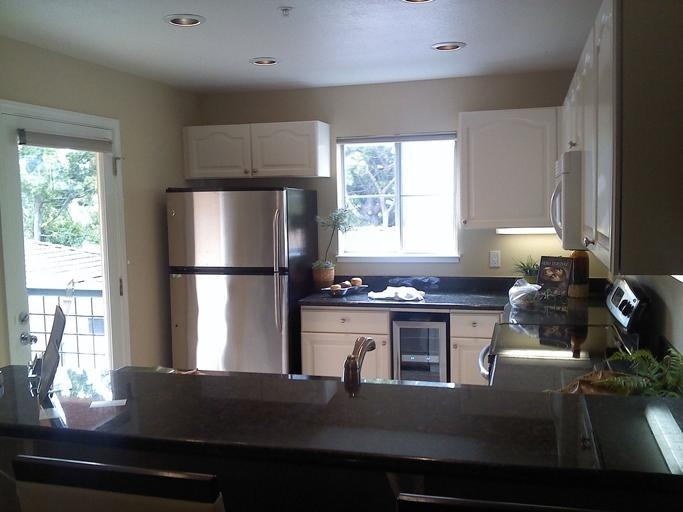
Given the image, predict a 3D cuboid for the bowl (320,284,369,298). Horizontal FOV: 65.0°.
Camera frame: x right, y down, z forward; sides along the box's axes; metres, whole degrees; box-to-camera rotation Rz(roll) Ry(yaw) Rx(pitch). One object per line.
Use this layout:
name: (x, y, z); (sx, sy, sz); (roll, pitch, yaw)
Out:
bowl: (0.033, 0.267, 4.298); (0.390, 0.078, 0.369); (0, 4, 0)

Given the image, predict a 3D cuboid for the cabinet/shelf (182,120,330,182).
cabinet/shelf: (-0.704, -0.876, 4.457); (1.095, 0.429, 0.353); (-1, 10, 6)

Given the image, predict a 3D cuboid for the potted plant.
potted plant: (-0.092, -0.072, 4.513); (0.327, 0.744, 0.295); (1, 12, -27)

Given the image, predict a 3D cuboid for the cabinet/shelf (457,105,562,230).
cabinet/shelf: (1.290, -0.526, 4.271); (0.845, 1.099, 0.811); (7, 34, 28)

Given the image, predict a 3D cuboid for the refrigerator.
refrigerator: (-0.921, 0.176, 4.370); (0.884, 1.702, 0.668); (3, 24, -5)
